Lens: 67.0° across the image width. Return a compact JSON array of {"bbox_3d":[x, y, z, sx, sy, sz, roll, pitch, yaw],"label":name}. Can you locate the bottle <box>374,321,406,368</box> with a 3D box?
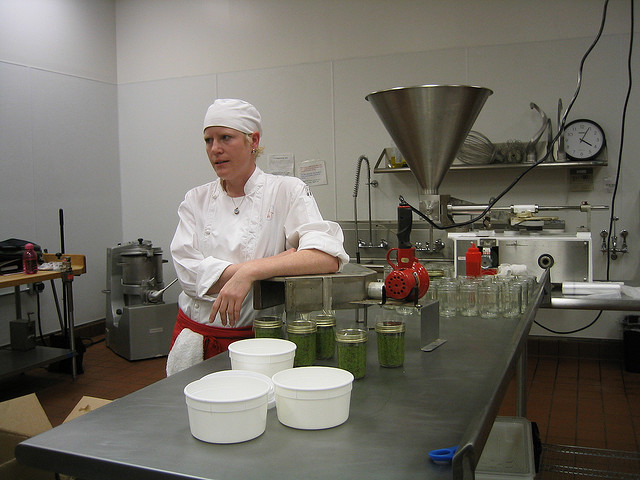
[{"bbox_3d":[0.211,0.297,1.435,0.092,0.128,0.083,-5,12,1],"label":"bottle"}]

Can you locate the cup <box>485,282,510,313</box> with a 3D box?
[{"bbox_3d":[0.711,0.226,1.947,0.089,0.156,0.098,-2,3,20],"label":"cup"}]

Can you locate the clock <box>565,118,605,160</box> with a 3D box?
[{"bbox_3d":[2.278,-0.871,4.173,0.305,0.337,0.108,0,8,23],"label":"clock"}]

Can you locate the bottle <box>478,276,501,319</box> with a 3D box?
[{"bbox_3d":[0.647,0.234,1.849,0.078,0.123,0.066,-2,7,11],"label":"bottle"}]

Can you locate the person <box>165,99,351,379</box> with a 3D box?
[{"bbox_3d":[-0.290,-0.021,1.888,0.788,1.089,0.612,-3,7,3],"label":"person"}]

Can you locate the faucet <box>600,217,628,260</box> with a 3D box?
[{"bbox_3d":[2.596,-0.024,4.279,0.214,0.444,0.107,1,-28,30],"label":"faucet"}]

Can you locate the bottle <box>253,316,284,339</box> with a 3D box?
[{"bbox_3d":[-0.160,0.261,1.500,0.064,0.076,0.068,2,1,25],"label":"bottle"}]

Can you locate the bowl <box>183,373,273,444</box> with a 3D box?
[{"bbox_3d":[-0.209,0.392,1.150,0.195,0.117,0.169,-5,8,-8],"label":"bowl"}]

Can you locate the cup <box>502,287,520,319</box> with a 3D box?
[{"bbox_3d":[0.745,0.244,1.886,0.068,0.121,0.070,1,-2,0],"label":"cup"}]

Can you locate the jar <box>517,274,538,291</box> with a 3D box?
[{"bbox_3d":[0.973,0.179,2.254,0.089,0.075,0.095,-2,5,0],"label":"jar"}]

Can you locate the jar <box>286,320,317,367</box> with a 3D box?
[{"bbox_3d":[-0.046,0.299,1.419,0.112,0.172,0.109,-1,-6,0],"label":"jar"}]

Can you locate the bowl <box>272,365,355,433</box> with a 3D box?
[{"bbox_3d":[-0.020,0.372,1.155,0.138,0.066,0.143,1,3,0],"label":"bowl"}]

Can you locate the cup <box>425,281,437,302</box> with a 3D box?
[{"bbox_3d":[0.417,0.194,1.819,0.059,0.076,0.079,1,2,2],"label":"cup"}]

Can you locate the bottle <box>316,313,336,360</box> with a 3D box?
[{"bbox_3d":[0.016,0.303,1.506,0.050,0.134,0.080,2,9,36],"label":"bottle"}]

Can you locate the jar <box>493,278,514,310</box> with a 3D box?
[{"bbox_3d":[0.739,0.215,1.928,0.087,0.108,0.093,0,5,0],"label":"jar"}]

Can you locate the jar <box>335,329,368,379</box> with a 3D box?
[{"bbox_3d":[0.092,0.313,1.369,0.088,0.125,0.083,-1,12,0],"label":"jar"}]

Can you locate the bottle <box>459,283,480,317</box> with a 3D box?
[{"bbox_3d":[0.578,0.230,1.870,0.072,0.129,0.036,0,8,23],"label":"bottle"}]

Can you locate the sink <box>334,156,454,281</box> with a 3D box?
[{"bbox_3d":[0.554,-0.168,3.495,0.885,0.974,0.522,1,7,19],"label":"sink"}]

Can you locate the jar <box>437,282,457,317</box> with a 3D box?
[{"bbox_3d":[0.500,0.231,1.890,0.071,0.122,0.076,-3,7,0],"label":"jar"}]

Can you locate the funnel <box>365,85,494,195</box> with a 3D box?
[{"bbox_3d":[0.436,-0.346,1.945,0.496,0.434,0.483,0,1,22],"label":"funnel"}]
